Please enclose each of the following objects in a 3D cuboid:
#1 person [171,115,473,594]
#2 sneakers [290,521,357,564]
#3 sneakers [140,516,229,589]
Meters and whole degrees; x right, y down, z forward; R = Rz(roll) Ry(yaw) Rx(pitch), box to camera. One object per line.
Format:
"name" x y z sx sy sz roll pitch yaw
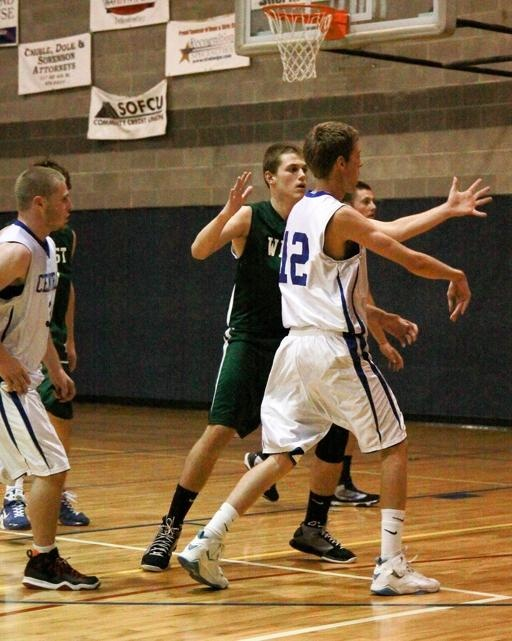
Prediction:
"person" 0.255 0.121 2.485 0.745 1.480 0.708 6 14 20
"sneakers" 0.257 0.877 3.136 0.325 0.141 0.107 7 -7 30
"sneakers" -0.197 0.743 2.490 0.089 0.175 0.259 11 -27 46
